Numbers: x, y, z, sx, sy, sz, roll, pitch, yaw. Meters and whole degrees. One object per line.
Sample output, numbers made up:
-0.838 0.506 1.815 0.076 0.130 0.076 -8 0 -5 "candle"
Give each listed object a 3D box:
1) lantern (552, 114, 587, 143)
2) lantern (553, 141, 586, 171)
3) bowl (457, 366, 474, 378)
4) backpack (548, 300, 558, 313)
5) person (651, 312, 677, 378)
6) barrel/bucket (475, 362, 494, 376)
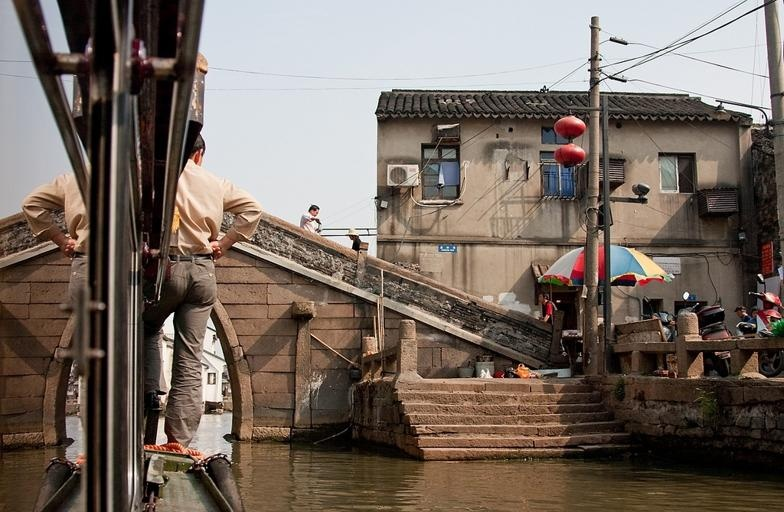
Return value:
3.709 -2.745 24.383 0.601 0.705 0.640 -3 -5 -2 "lantern"
3.714 -2.071 24.573 0.564 0.653 0.604 -1 -6 -4 "lantern"
1.633 2.555 26.207 0.363 0.190 0.262 -3 6 2 "bowl"
3.857 1.199 28.249 0.211 0.310 0.155 2 -17 -27 "backpack"
5.630 1.758 24.822 0.719 1.572 0.914 -3 -7 18 "person"
2.075 2.472 25.965 0.309 0.331 0.320 0 -4 0 "barrel/bucket"
